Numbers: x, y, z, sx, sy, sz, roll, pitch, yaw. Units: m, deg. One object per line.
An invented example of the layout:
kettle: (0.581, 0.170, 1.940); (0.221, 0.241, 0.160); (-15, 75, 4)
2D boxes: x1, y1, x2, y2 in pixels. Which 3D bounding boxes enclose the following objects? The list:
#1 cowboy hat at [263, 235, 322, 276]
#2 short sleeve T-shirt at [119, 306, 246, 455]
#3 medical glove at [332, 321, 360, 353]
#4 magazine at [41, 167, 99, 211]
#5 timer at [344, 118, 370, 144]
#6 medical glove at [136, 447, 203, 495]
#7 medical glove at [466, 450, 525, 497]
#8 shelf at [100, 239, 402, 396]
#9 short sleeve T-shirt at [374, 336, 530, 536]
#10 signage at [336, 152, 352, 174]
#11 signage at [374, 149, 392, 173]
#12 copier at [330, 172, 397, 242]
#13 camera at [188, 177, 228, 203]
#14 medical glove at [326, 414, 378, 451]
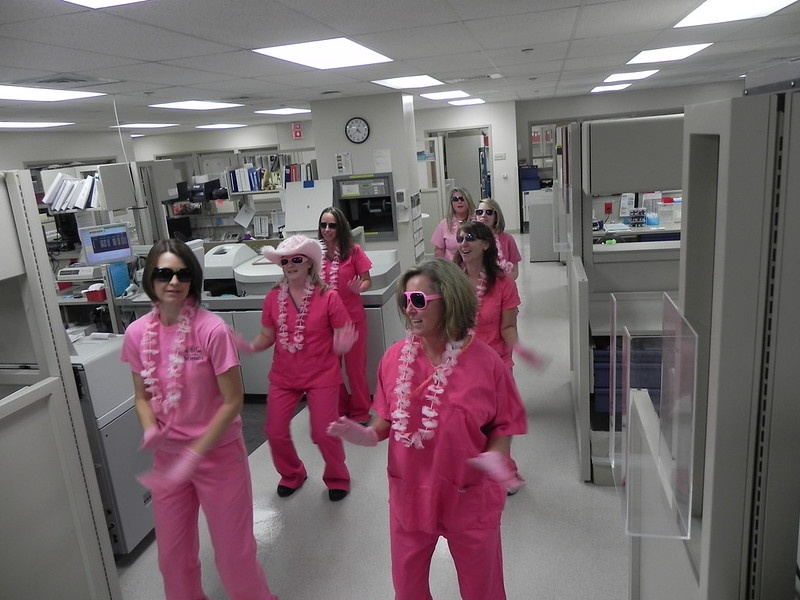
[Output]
cowboy hat: (-0.750, -0.298, 3.949); (0.486, 0.237, 0.558); (0, -3, 1)
short sleeve T-shirt: (-1.030, 0.374, 2.654); (0.574, 0.614, 0.260); (-1, 12, 15)
medical glove: (-0.324, 0.257, 3.571); (0.137, 0.204, 0.058); (-11, -18, 30)
magazine: (-2.859, -0.950, 4.928); (0.335, 0.163, 0.446); (-25, 17, -10)
timer: (-0.592, -2.378, 7.933); (0.369, 0.370, 0.134); (-5, 12, -3)
medical glove: (-0.988, 0.759, 2.441); (0.268, 0.082, 0.199); (-33, 14, -38)
medical glove: (0.370, 0.660, 2.108); (0.077, 0.187, 0.154); (-48, 6, -20)
shelf: (-0.959, 0.125, 3.726); (1.247, 0.809, 0.692); (0, 5, 14)
short sleeve T-shirt: (0.203, 0.541, 2.254); (0.611, 0.718, 0.369); (-4, 12, 2)
signage: (-0.791, -1.928, 8.003); (0.199, 0.306, 0.085); (0, 5, 9)
signage: (-0.229, -1.982, 7.959); (0.297, 0.433, 0.044); (0, 10, 6)
copier: (-0.463, -1.407, 8.315); (0.826, 1.037, 0.535); (-3, 26, 6)
camera: (-2.906, -1.644, 8.478); (0.629, 0.283, 0.296); (-6, 12, -5)
medical glove: (-0.194, 0.553, 2.298); (0.202, 0.119, 0.057); (26, -34, -7)
